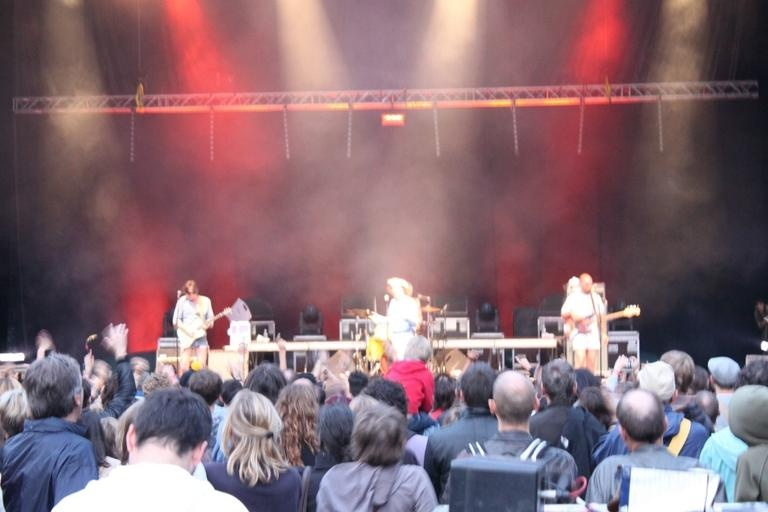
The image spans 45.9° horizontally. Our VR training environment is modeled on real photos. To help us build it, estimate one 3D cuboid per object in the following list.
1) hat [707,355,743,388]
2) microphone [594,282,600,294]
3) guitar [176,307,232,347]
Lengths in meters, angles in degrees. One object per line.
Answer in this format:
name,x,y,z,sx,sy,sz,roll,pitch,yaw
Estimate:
hat,3.813,1.295,10.137,0.260,0.384,0.353,2,-13,8
microphone,3.555,0.525,15.160,0.144,0.173,0.253,-1,-7,27
guitar,-3.002,1.119,15.137,1.005,0.421,0.127,-38,-6,-16
